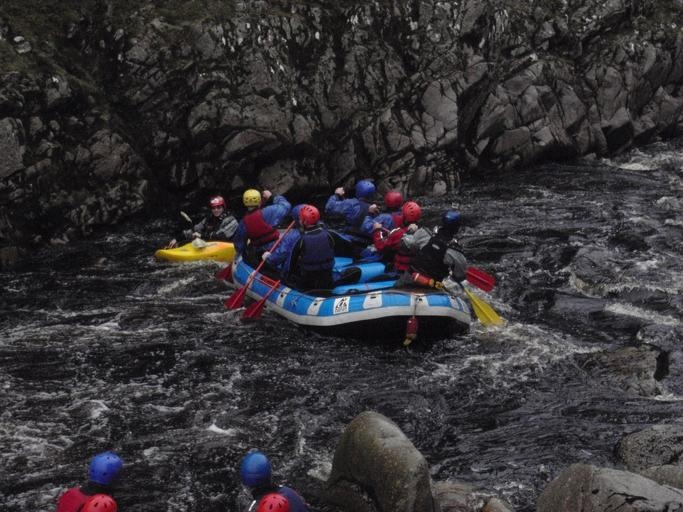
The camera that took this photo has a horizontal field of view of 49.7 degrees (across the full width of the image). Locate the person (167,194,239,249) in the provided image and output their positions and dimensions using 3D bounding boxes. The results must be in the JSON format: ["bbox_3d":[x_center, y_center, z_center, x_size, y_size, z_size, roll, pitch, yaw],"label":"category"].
[{"bbox_3d":[-2.785,-0.800,15.977,1.216,0.987,1.980,0,-3,-11],"label":"person"}]

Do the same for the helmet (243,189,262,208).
[{"bbox_3d":[-1.602,-1.050,13.404,0.273,0.347,0.474,-1,0,-9],"label":"helmet"}]

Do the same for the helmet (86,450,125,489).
[{"bbox_3d":[-2.625,2.360,8.313,0.338,0.363,0.453,8,5,17],"label":"helmet"}]

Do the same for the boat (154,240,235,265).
[{"bbox_3d":[-2.921,-0.075,15.315,1.397,0.249,0.647,-2,8,-26],"label":"boat"}]

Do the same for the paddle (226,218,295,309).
[{"bbox_3d":[-1.395,0.170,13.025,2.291,0.327,0.163,-46,32,-18],"label":"paddle"}]

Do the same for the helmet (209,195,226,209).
[{"bbox_3d":[-2.621,-1.199,15.696,0.364,0.259,0.510,-4,-4,-2],"label":"helmet"}]

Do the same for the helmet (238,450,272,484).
[{"bbox_3d":[-0.930,2.334,8.310,0.351,0.324,0.357,1,20,1],"label":"helmet"}]

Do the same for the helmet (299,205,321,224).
[{"bbox_3d":[-0.538,-0.652,12.018,0.277,0.320,0.314,-28,13,-20],"label":"helmet"}]

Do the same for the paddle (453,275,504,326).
[{"bbox_3d":[2.216,0.775,12.126,0.392,1.209,0.102,-44,7,-3],"label":"paddle"}]

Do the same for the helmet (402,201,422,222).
[{"bbox_3d":[1.231,-0.748,12.313,0.315,0.339,0.331,2,-17,-2],"label":"helmet"}]
